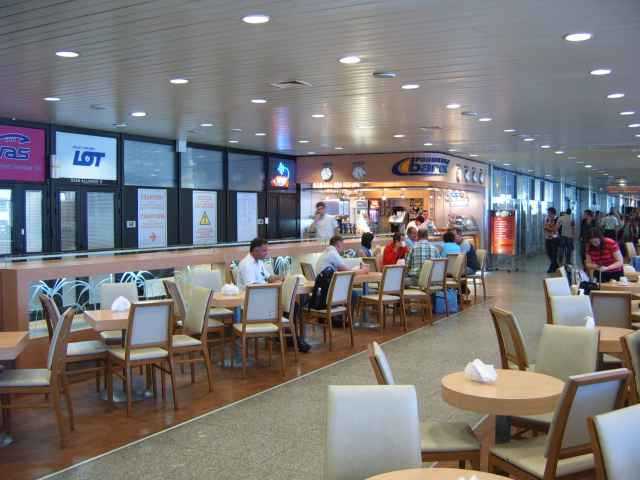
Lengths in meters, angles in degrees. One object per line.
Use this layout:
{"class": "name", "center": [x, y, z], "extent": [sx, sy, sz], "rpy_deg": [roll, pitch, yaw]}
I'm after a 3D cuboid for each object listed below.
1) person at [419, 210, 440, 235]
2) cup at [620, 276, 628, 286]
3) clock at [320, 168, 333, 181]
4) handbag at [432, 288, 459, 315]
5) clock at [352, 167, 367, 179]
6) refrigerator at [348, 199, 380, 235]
{"class": "person", "center": [2.944, -0.512, 14.079], "extent": [0.407, 0.791, 0.665], "rpy_deg": [-8, 15, 12]}
{"class": "cup", "center": [4.298, 0.582, 7.309], "extent": [0.099, 0.136, 0.158], "rpy_deg": [1, -3, -15]}
{"class": "clock", "center": [0.174, -1.957, 15.185], "extent": [0.371, 0.377, 0.113], "rpy_deg": [3, 1, 32]}
{"class": "handbag", "center": [2.528, 1.232, 10.308], "extent": [0.551, 0.551, 0.387], "rpy_deg": [-3, 3, -11]}
{"class": "clock", "center": [1.073, -1.921, 14.699], "extent": [0.335, 0.340, 0.087], "rpy_deg": [3, 2, 25]}
{"class": "refrigerator", "center": [1.499, -0.776, 16.213], "extent": [0.859, 0.964, 0.792], "rpy_deg": [2, 1, 33]}
